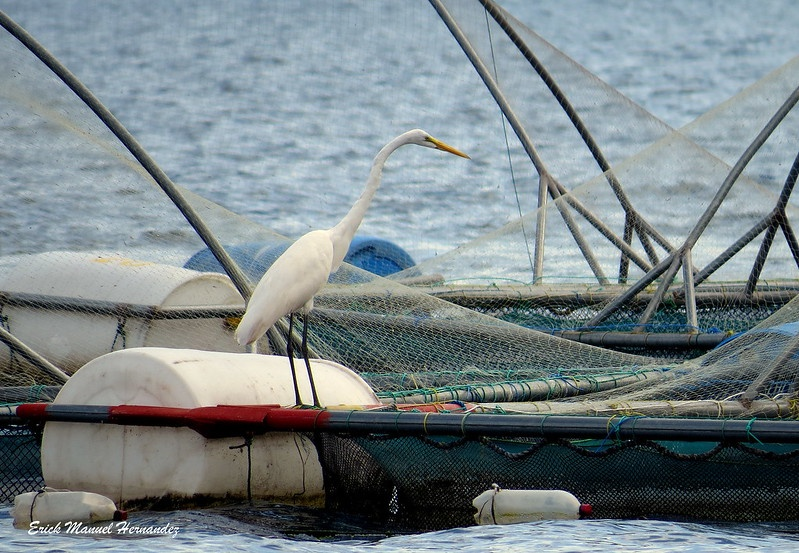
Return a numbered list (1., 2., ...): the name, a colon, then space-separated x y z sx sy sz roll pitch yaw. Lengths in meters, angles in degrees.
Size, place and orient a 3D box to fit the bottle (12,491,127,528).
1. bottle: -3.577 2.476 17.765 0.965 0.240 0.511 1 0 0
